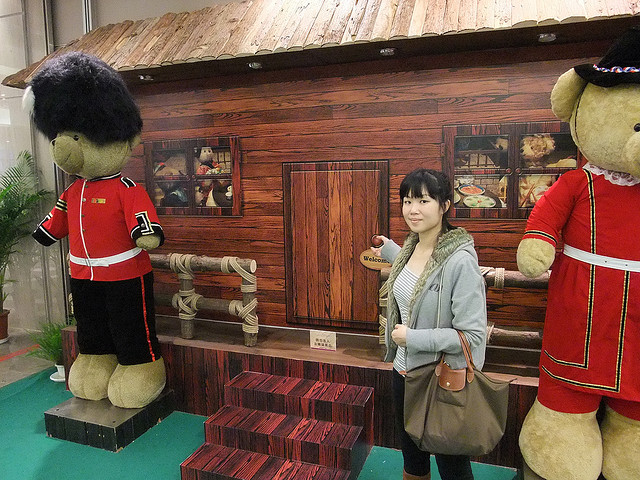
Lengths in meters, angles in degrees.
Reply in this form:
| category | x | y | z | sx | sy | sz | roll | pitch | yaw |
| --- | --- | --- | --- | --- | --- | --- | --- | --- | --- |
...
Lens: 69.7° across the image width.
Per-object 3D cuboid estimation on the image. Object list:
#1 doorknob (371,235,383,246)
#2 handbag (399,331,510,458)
| category | x | y | z | sx | sy | sz | roll | pitch | yaw |
| --- | --- | --- | --- | --- | --- | --- | --- | --- | --- |
| doorknob | 0.356 | 0.005 | 2.836 | 0.058 | 0.057 | 0.049 | -4 | 12 | -17 |
| handbag | 0.680 | 0.775 | 2.295 | 0.492 | 0.542 | 0.218 | 3 | 12 | 16 |
